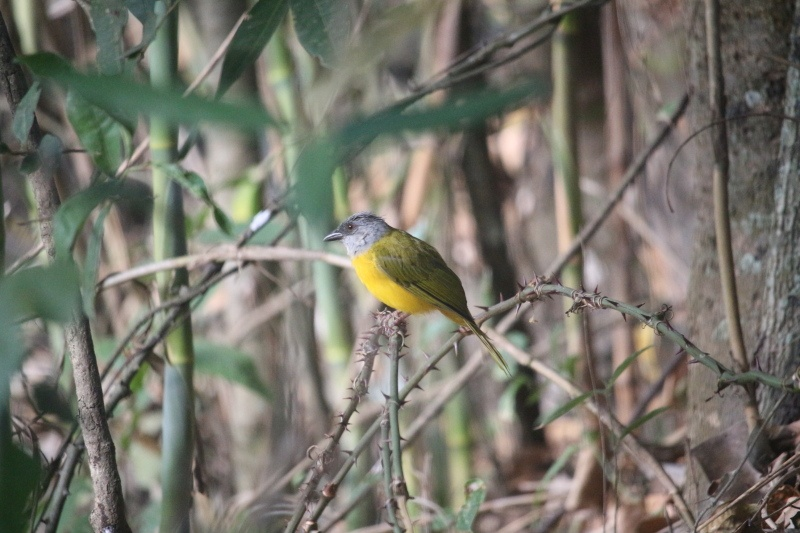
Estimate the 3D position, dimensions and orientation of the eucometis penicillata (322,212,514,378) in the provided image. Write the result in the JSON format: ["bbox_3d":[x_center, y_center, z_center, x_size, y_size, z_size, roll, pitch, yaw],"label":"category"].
[{"bbox_3d":[-0.032,0.062,3.800,0.478,0.627,0.247,1,-53,-16],"label":"eucometis penicillata"}]
